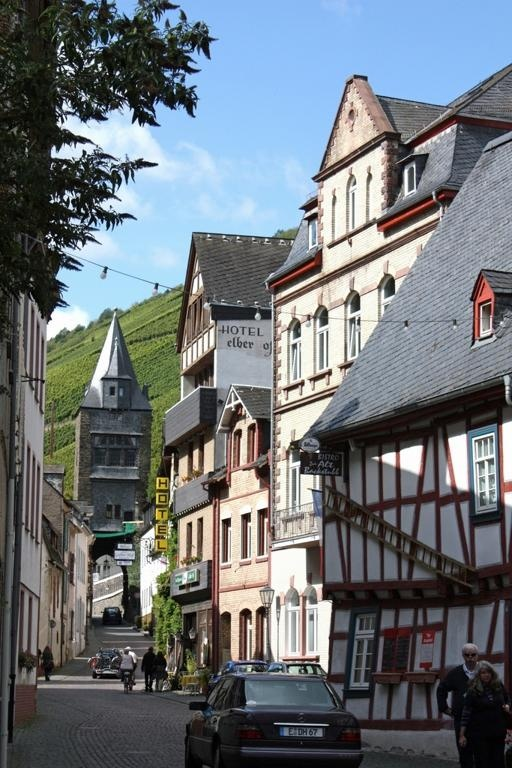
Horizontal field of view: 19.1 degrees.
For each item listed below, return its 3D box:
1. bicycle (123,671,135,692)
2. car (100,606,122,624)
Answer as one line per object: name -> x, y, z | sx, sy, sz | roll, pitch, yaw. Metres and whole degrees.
bicycle -> -3.455, 8.044, 40.997 | 0.275, 0.414, 0.629 | 1, -10, 1
car -> -9.355, 15.046, 99.026 | 1.310, 1.356, 2.443 | 1, 9, -6
